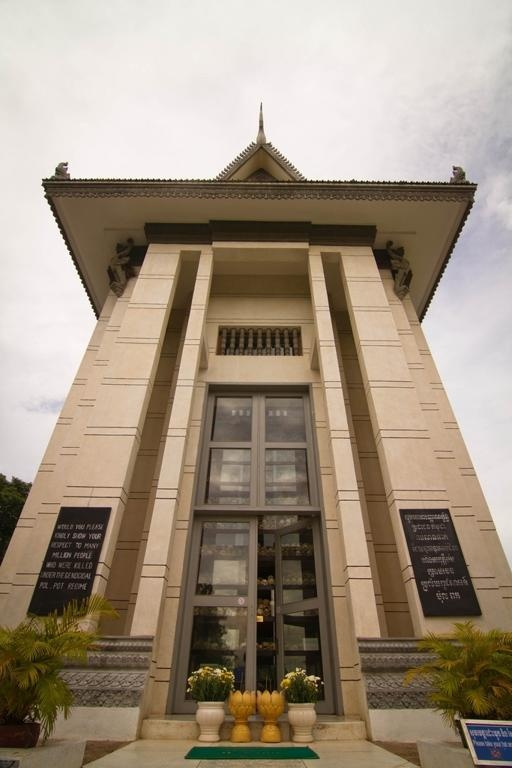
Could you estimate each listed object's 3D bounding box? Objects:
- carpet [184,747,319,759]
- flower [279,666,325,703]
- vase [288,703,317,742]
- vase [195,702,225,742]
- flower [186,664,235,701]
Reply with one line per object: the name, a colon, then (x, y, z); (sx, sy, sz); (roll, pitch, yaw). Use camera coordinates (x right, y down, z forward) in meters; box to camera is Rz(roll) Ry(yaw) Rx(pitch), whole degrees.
carpet: (-0.057, 3.001, 3.719); (1.030, 0.047, 0.809); (3, -36, -4)
flower: (0.429, 3.007, 4.547); (0.353, 0.287, 0.295); (1, -37, 0)
vase: (0.390, 3.236, 4.417); (0.372, 0.371, 0.328); (1, -44, -1)
vase: (-0.460, 3.273, 4.431); (0.268, 0.309, 0.314); (4, -37, -4)
flower: (-0.463, 3.037, 4.617); (0.434, 0.306, 0.252); (0, -37, 0)
